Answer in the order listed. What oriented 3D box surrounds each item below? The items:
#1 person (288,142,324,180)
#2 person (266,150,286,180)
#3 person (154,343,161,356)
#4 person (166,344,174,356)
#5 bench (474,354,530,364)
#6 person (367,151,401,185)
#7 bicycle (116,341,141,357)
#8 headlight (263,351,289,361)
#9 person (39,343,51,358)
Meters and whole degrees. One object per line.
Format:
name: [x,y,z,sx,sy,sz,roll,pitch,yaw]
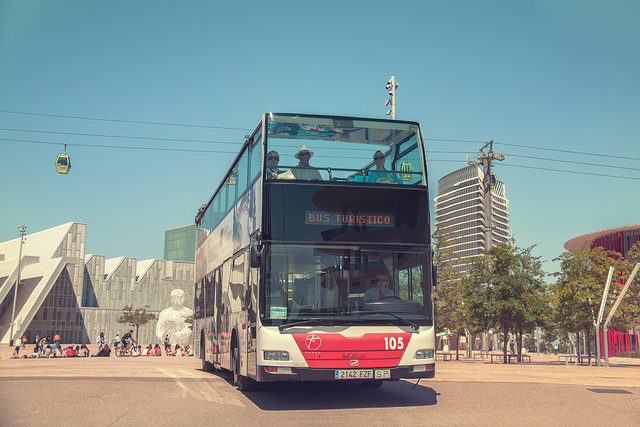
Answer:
person: [-0.384,-1.246,15.329,1.078,1.077,0.589,-2,-6,-18]
person: [-1.170,-1.242,15.203,0.651,0.892,0.325,3,-40,-11]
person: [-14.285,12.065,51.253,0.454,0.988,3.769,3,-15,-15]
person: [-13.667,12.436,52.912,0.568,0.939,2.962,3,-15,-14]
bench: [12.299,9.779,39.246,2.808,0.578,8.852,-6,-15,20]
person: [1.636,-1.175,15.639,0.930,1.031,0.440,-6,-13,-3]
bicycle: [-15.017,10.671,45.384,1.799,1.193,0.934,-1,-5,-7]
headlight: [-1.073,3.508,14.293,0.615,0.226,0.052,0,-12,0]
person: [-18.915,9.538,40.306,0.918,0.900,0.641,-13,-18,43]
